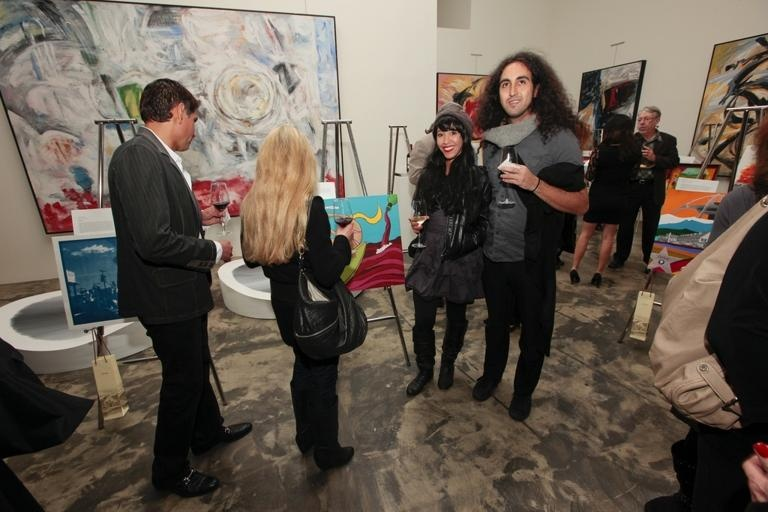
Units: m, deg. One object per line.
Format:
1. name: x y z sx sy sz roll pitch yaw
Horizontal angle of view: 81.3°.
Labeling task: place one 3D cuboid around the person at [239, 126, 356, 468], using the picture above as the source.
1. person: -0.566 0.370 3.263 0.666 2.473 0.752 -14 25 -25

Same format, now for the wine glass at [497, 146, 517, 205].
1. wine glass: 0.961 -0.606 3.476 0.146 0.480 0.238 3 23 14

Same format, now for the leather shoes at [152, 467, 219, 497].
1. leather shoes: -1.423 1.662 3.354 0.525 0.201 0.192 5 8 -2

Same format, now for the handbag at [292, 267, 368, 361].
1. handbag: -0.380 0.433 3.138 0.496 0.715 0.303 -5 23 -6

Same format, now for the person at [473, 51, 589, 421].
1. person: 1.159 -0.130 3.637 0.831 2.828 1.044 2 23 11

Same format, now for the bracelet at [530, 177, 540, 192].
1. bracelet: 1.160 -0.535 3.393 0.024 0.084 0.089 29 9 5

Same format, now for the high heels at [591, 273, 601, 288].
1. high heels: 2.712 0.313 5.711 0.096 0.090 0.186 0 39 32

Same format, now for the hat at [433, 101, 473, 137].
1. hat: 0.561 -1.159 3.726 0.322 0.180 0.264 28 32 30
